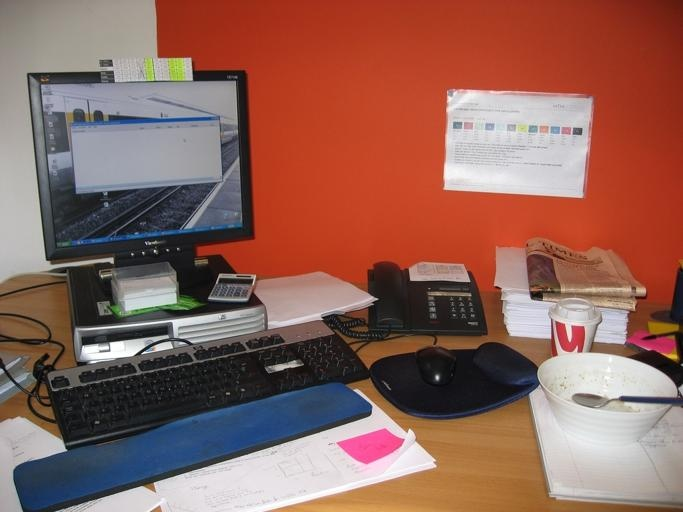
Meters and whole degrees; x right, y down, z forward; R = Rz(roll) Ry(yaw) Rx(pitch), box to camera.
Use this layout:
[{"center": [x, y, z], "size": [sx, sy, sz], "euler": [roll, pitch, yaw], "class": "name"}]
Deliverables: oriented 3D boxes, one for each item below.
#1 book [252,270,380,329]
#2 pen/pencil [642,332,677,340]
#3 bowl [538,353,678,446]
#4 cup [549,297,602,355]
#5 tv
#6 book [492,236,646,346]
[{"center": [-0.095, 0.108, 1.378], "size": [0.181, 0.021, 0.171], "euler": [-13, 21, -32], "class": "book"}, {"center": [0.739, 0.187, 1.221], "size": [0.089, 0.009, 0.010], "euler": [-10, -20, 22], "class": "pen/pencil"}, {"center": [0.483, 0.252, 0.973], "size": [0.191, 0.065, 0.179], "euler": [1, 19, 0], "class": "bowl"}, {"center": [0.514, 0.160, 1.159], "size": [0.127, 0.098, 0.110], "euler": [-3, 16, -2], "class": "cup"}, {"center": [-0.469, -0.202, 1.252], "size": [0.689, 0.466, 0.065], "euler": [-7, 13, -21], "class": "tv"}, {"center": [0.520, 0.090, 1.294], "size": [0.327, 0.091, 0.291], "euler": [2, 30, 5], "class": "book"}]
